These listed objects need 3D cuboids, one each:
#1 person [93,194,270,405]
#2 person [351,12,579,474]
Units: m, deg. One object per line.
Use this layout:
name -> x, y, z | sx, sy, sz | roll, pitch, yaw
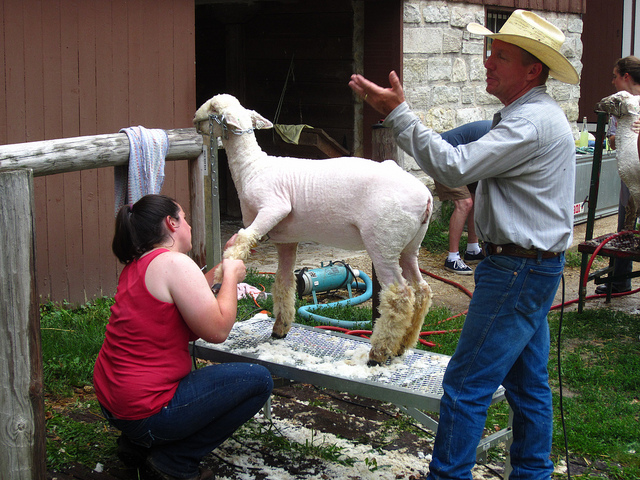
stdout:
person -> -0.703, 0.384, 3.037 | 0.954, 1.225, 0.911 | -1, -4, -7
person -> 0.806, 0.094, 2.689 | 0.765, 2.420, 0.628 | 5, 5, 27
